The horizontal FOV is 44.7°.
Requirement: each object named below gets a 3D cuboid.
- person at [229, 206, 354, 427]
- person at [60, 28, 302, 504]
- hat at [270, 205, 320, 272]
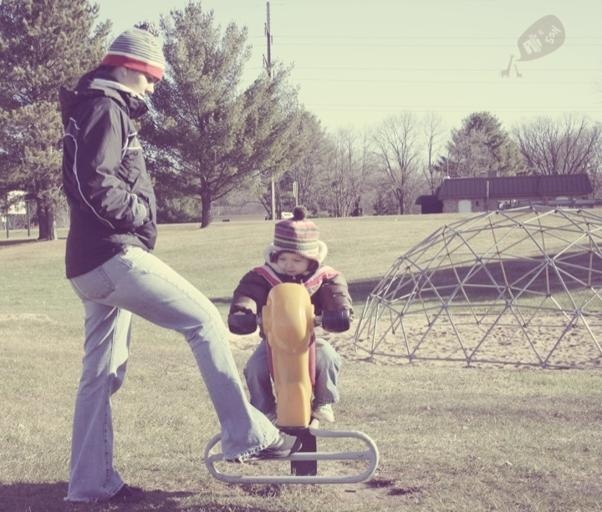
[{"bbox_3d":[-0.104,0.460,5.219,0.721,1.476,0.866,0,3,-3],"label":"person"},{"bbox_3d":[-0.994,0.083,4.800,1.253,3.168,0.744,1,3,-12],"label":"person"},{"bbox_3d":[-0.040,-0.109,5.150,0.320,0.430,0.406,0,-1,0],"label":"hat"}]
